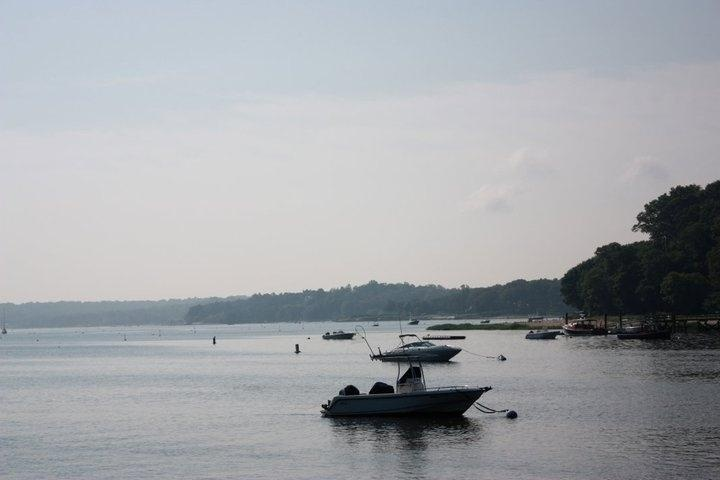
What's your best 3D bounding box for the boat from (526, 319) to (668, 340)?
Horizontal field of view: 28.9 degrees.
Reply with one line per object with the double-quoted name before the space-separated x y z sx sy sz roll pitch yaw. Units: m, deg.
"boat" 57.817 21.599 334.436 30.345 6.346 5.879 -2 -3 23
